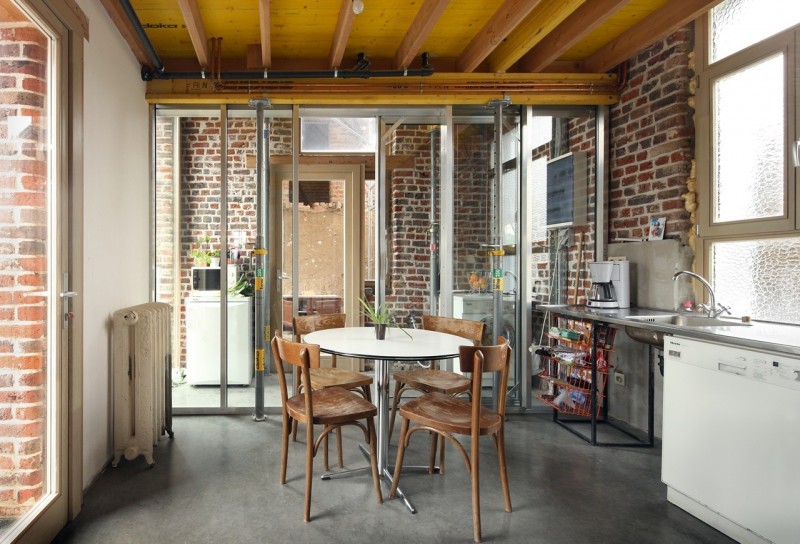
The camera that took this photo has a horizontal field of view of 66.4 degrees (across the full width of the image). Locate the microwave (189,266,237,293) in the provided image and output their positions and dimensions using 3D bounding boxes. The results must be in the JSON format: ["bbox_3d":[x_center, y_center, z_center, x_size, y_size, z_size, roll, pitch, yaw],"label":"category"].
[{"bbox_3d":[-1.754,0.047,5.844,0.400,0.232,0.243,0,-2,-4],"label":"microwave"}]

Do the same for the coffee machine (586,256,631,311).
[{"bbox_3d":[1.870,0.112,5.388,0.445,0.528,0.373,1,-3,1],"label":"coffee machine"}]

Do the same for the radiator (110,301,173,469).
[{"bbox_3d":[-2.066,0.908,4.832,0.394,1.233,1.322,-1,1,-9],"label":"radiator"}]
